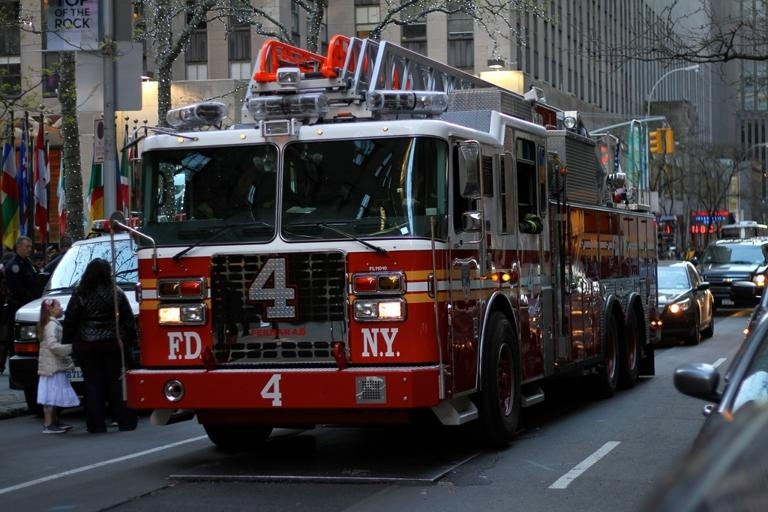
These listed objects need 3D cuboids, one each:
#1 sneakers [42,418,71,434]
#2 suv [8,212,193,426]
[{"bbox_3d":[-4.885,2.525,15.266,0.331,0.141,0.189,-1,-4,7],"label":"sneakers"},{"bbox_3d":[-4.658,0.784,16.902,2.072,2.513,4.236,-2,-6,14],"label":"suv"}]
